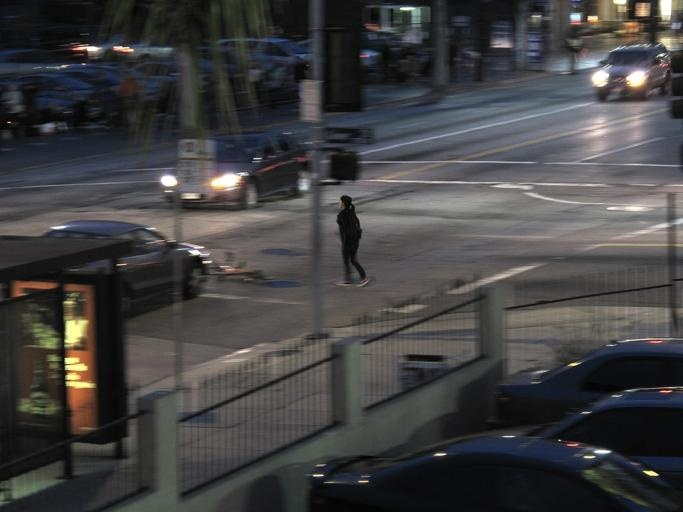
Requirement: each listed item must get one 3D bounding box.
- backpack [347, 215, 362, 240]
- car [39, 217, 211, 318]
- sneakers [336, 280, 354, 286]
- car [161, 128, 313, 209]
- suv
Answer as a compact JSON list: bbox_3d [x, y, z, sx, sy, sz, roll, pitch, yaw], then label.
[{"bbox_3d":[0.313,-0.547,29.010,0.166,0.533,0.369,1,14,21],"label":"backpack"},{"bbox_3d":[-3.917,0.174,27.078,1.339,1.707,2.715,4,13,30],"label":"car"},{"bbox_3d":[0.081,0.606,29.258,0.340,0.084,0.122,-2,1,23],"label":"sneakers"},{"bbox_3d":[-2.378,-2.224,36.630,1.241,1.882,3.295,4,12,29],"label":"car"},{"bbox_3d":[11.198,-6.976,53.707,2.917,2.141,3.577,8,15,42],"label":"suv"}]
